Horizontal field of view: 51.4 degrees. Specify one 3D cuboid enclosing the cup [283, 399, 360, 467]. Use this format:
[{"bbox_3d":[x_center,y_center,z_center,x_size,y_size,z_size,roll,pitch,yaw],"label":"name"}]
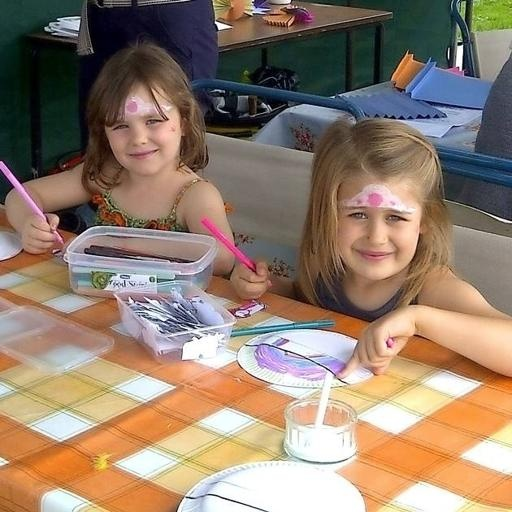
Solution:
[{"bbox_3d":[0.076,0.207,0.646,0.088,0.054,0.090,-1,21,0],"label":"cup"}]
